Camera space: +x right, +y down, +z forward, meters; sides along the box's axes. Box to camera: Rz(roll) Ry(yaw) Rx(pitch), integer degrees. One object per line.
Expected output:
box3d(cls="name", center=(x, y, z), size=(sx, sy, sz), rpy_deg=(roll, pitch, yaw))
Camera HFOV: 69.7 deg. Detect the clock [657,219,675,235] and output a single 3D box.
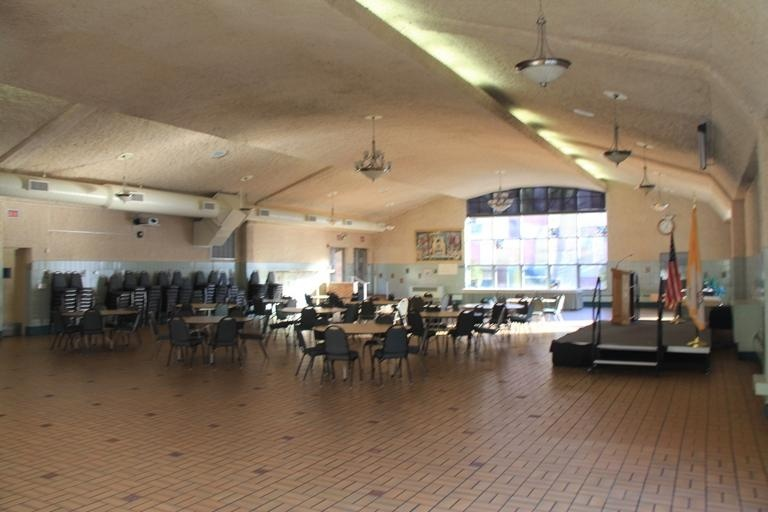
box3d(cls="clock", center=(11.024, -1.164, 21.594), size=(0.220, 0.662, 0.503), rpy_deg=(4, -7, -37))
